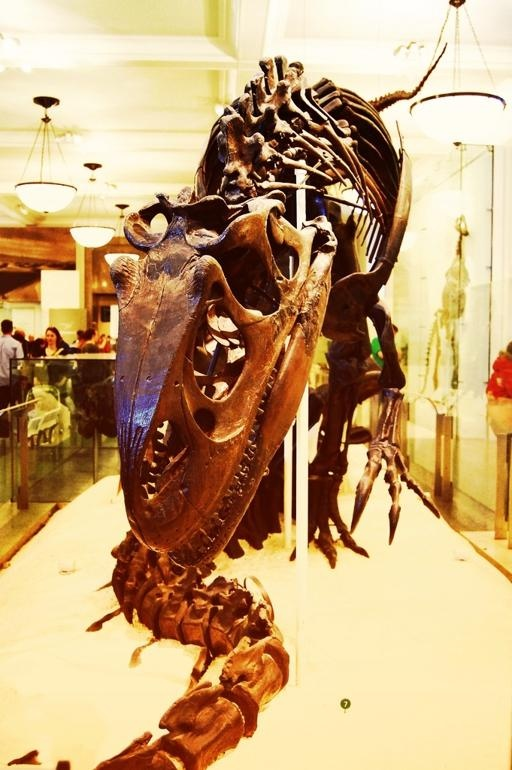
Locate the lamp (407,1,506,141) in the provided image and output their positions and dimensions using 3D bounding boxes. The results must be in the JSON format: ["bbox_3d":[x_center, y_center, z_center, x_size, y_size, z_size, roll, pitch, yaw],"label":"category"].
[{"bbox_3d":[1.051,-1.620,3.277,0.483,0.771,0.897,2,7,13],"label":"lamp"}]

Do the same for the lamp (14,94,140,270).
[{"bbox_3d":[-2.075,-2.327,7.086,0.816,1.710,1.859,-7,-17,11],"label":"lamp"}]
